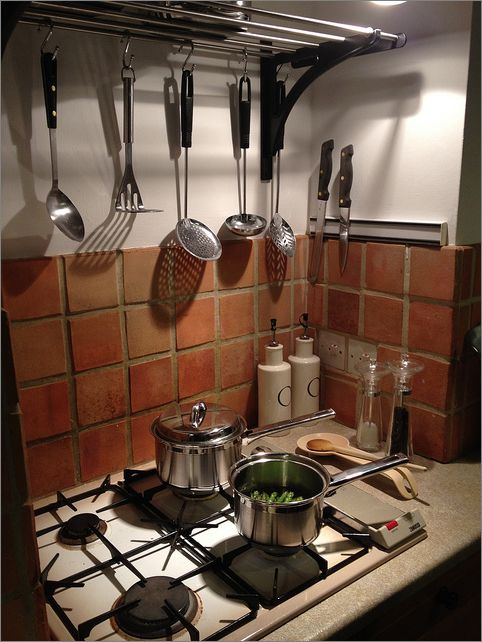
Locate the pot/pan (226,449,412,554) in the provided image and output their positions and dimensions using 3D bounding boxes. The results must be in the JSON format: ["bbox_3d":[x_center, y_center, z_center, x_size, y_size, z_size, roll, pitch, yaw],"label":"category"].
[{"bbox_3d":[0.129,0.241,0.741,0.256,0.127,0.144,0,7,-17],"label":"pot/pan"}]

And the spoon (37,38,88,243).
[{"bbox_3d":[-0.306,-0.292,0.762,0.059,0.328,0.129,-5,14,-16],"label":"spoon"}]

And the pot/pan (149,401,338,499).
[{"bbox_3d":[-0.015,0.207,0.891,0.269,0.155,0.158,-1,8,-11],"label":"pot/pan"}]
